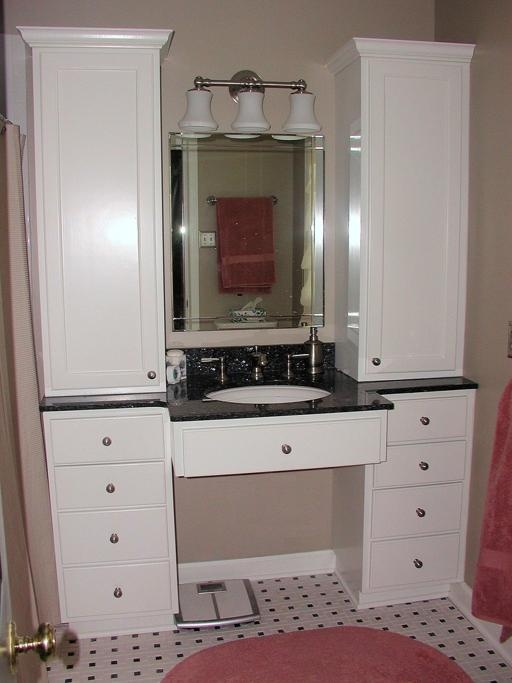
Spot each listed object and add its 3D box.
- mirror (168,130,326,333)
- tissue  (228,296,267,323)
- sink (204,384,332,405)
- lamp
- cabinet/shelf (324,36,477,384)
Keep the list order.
[{"bbox_3d":[-0.058,-0.454,2.314,0.775,0.920,0.015,-4,14,-11],"label":"mirror"},{"bbox_3d":[-0.022,-0.116,2.375,0.192,0.140,0.061,-1,9,-9],"label":"tissue "},{"bbox_3d":[0.040,0.207,2.183,0.425,0.083,0.181,-1,11,-2],"label":"sink"},{"bbox_3d":[-0.022,-0.870,2.150,0.504,0.214,0.162,3,23,5],"label":"lamp"},{"bbox_3d":[0.509,-0.451,2.189,0.538,1.175,0.321,2,11,13],"label":"cabinet/shelf"}]
